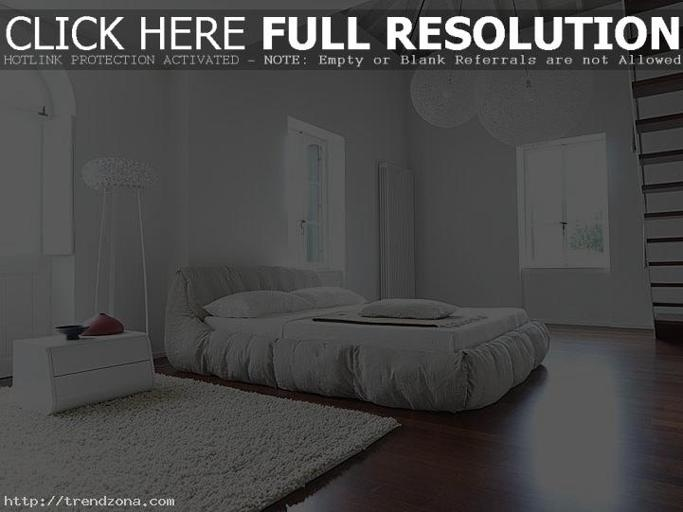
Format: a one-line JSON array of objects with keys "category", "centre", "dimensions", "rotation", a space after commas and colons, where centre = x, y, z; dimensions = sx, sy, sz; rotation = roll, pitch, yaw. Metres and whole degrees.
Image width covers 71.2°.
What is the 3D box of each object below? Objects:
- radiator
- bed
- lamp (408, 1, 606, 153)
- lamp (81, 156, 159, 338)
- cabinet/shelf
[{"category": "radiator", "centre": [0.825, -0.282, 6.815], "dimensions": [0.112, 1.902, 1.104], "rotation": [-5, 9, -22]}, {"category": "bed", "centre": [-0.020, 0.595, 3.327], "dimensions": [1.792, 0.569, 1.434], "rotation": [-2, 0, 30]}, {"category": "lamp", "centre": [1.164, -1.140, 3.594], "dimensions": [1.237, 0.614, 0.333], "rotation": [2, 5, 23]}, {"category": "lamp", "centre": [-1.794, -0.046, 3.925], "dimensions": [0.540, 1.498, 0.451], "rotation": [-3, 6, -29]}, {"category": "cabinet/shelf", "centre": [-1.654, 0.605, 2.975], "dimensions": [0.489, 0.357, 0.618], "rotation": [1, 1, 36]}]
